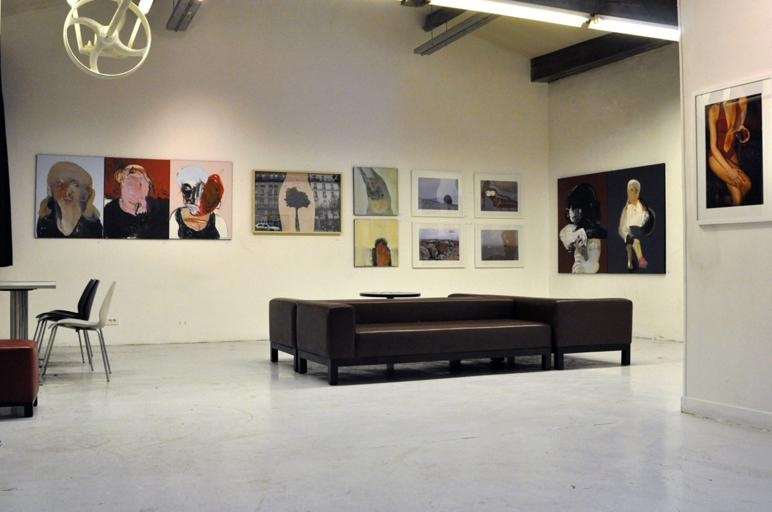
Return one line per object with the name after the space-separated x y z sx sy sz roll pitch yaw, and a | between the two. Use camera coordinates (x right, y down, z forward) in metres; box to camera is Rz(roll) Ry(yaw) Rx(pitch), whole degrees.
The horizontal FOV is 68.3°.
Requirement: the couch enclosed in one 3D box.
0.866 1.015 7.479 4.448 0.932 1.430 1 -2 -14 | couch

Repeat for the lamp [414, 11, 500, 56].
1.276 -4.160 10.653 0.224 0.110 1.466 23 -19 -28 | lamp

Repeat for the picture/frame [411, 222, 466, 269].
0.981 -0.201 11.014 0.842 0.712 0.037 1 -6 -22 | picture/frame

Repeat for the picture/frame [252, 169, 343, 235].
-1.659 -0.955 10.246 1.156 0.877 0.042 0 0 -11 | picture/frame

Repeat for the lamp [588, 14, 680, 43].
3.595 -3.268 8.200 1.529 0.170 0.240 1 -2 -15 | lamp

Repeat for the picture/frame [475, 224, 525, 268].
2.256 -0.197 11.434 0.830 0.723 0.034 1 -6 -22 | picture/frame
